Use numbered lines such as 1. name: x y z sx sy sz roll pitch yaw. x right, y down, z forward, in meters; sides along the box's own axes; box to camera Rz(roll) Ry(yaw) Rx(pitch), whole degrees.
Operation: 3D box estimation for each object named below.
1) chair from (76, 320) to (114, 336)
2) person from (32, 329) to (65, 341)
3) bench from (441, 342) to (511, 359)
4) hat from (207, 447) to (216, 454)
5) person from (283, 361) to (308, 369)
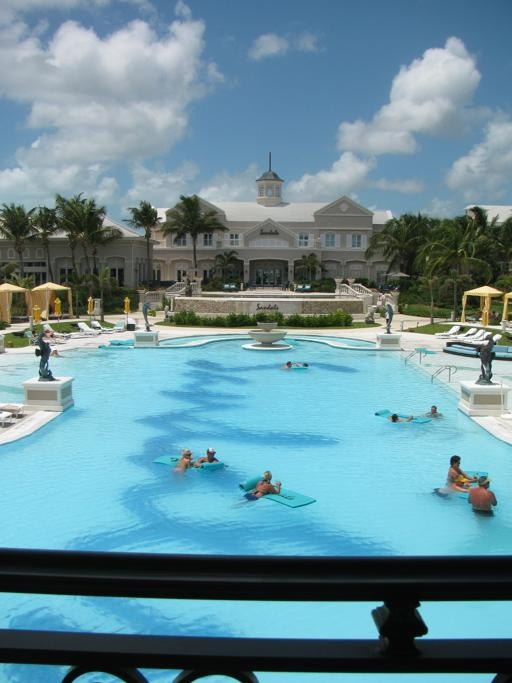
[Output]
1. chair: -10.047 -0.965 36.240 1.259 0.672 1.762 -2 0 -45
2. person: -9.739 -0.277 27.721 1.007 0.266 0.587 11 8 33
3. bench: 9.490 0.348 25.900 1.785 0.585 4.352 -1 7 -11
4. hat: -0.858 2.125 11.388 0.207 0.092 0.260 0 5 -1
5. person: 1.533 0.907 22.755 0.976 0.287 0.740 -2 7 -18
